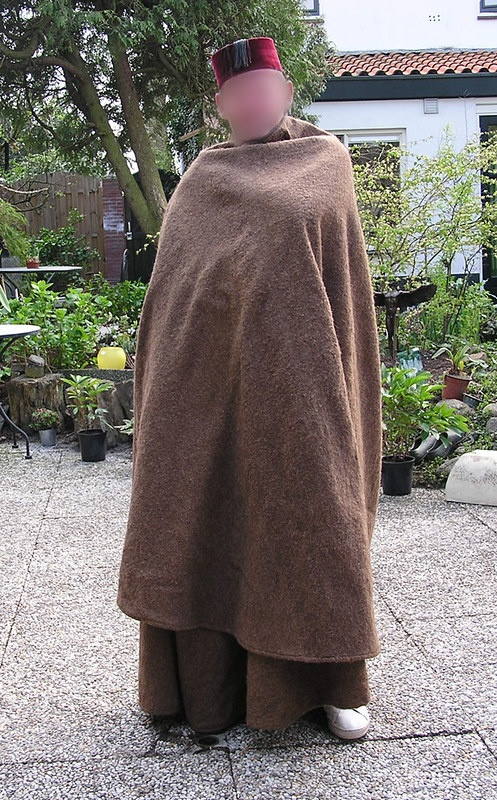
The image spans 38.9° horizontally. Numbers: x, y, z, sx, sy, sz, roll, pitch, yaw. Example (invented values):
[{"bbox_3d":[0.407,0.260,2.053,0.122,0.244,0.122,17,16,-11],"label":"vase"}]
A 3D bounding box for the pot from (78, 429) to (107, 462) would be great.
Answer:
[{"bbox_3d":[-1.031,0.309,4.640,0.191,0.156,0.199,-2,-2,0],"label":"pot"}]

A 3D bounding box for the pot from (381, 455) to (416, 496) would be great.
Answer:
[{"bbox_3d":[0.808,0.421,3.856,0.183,0.166,0.196,0,1,0],"label":"pot"}]

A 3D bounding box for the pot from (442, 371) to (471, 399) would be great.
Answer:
[{"bbox_3d":[1.560,-0.101,5.247,0.303,0.186,0.139,-5,9,-32],"label":"pot"}]

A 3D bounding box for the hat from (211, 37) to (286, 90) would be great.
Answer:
[{"bbox_3d":[-0.001,-0.707,1.498,0.144,0.076,0.143,-13,4,-3],"label":"hat"}]

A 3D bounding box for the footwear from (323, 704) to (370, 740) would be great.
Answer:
[{"bbox_3d":[0.232,0.732,1.604,0.051,0.051,0.133,0,-9,-7],"label":"footwear"}]

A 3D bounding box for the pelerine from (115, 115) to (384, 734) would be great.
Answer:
[{"bbox_3d":[-0.006,0.084,1.551,0.578,1.416,0.358,0,8,10],"label":"pelerine"}]
